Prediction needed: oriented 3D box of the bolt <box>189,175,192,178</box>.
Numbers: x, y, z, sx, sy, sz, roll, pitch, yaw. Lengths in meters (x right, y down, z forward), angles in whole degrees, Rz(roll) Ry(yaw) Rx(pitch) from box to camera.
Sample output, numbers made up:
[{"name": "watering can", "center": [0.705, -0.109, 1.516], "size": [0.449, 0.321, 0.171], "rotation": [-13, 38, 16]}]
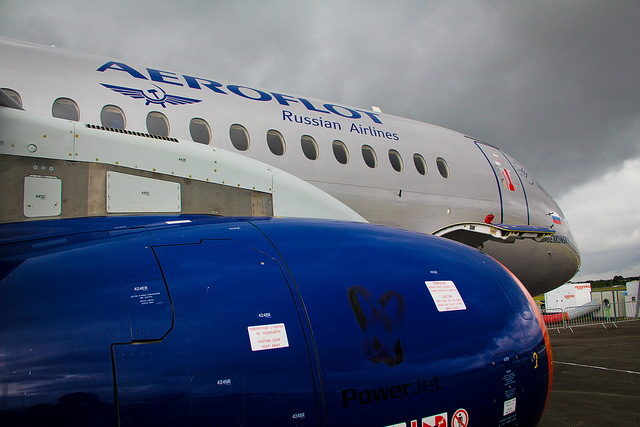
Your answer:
[{"name": "bolt", "center": [-1.418, -0.406, 5.082], "size": [0.006, 0.027, 0.028], "rotation": [-2, 8, 34]}]

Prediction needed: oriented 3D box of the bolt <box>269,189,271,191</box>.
[{"name": "bolt", "center": [-0.592, -0.282, 5.503], "size": [0.020, 0.019, 0.011], "rotation": [0, 6, 8]}]

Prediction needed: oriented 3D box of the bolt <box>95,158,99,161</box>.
[{"name": "bolt", "center": [-2.234, -0.542, 4.659], "size": [0.025, 0.026, 0.013], "rotation": [-49, 16, -4]}]

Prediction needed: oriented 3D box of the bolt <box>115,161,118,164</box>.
[{"name": "bolt", "center": [-2.068, -0.517, 4.735], "size": [0.025, 0.025, 0.025], "rotation": [3, 5, -20]}]

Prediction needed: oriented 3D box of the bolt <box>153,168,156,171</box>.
[{"name": "bolt", "center": [-1.745, -0.462, 4.895], "size": [0.026, 0.025, 0.026], "rotation": [-3, 0, 8]}]

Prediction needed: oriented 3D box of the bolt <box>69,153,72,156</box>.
[{"name": "bolt", "center": [-2.450, -0.579, 4.562], "size": [0.027, 0.027, 0.006], "rotation": [-15, 8, -25]}]

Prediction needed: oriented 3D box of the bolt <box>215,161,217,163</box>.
[{"name": "bolt", "center": [-1.184, -0.585, 5.269], "size": [0.024, 0.027, 0.024], "rotation": [1, 0, 5]}]

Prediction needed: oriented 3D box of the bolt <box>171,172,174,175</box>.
[{"name": "bolt", "center": [-1.579, -0.432, 4.988], "size": [0.018, 0.034, 0.019], "rotation": [-9, -15, 38]}]

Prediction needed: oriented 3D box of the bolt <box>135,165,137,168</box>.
[{"name": "bolt", "center": [-1.905, -0.487, 4.817], "size": [0.015, 0.015, 0.015], "rotation": [19, 17, 16]}]

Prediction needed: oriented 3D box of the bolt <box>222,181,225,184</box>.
[{"name": "bolt", "center": [-1.097, -0.353, 5.269], "size": [0.018, 0.018, 0.004], "rotation": [-10, 15, 10]}]

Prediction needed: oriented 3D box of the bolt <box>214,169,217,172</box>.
[{"name": "bolt", "center": [-1.180, -0.484, 5.249], "size": [0.026, 0.017, 0.025], "rotation": [6, 4, -12]}]

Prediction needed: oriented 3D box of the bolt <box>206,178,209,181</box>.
[{"name": "bolt", "center": [-1.253, -0.382, 5.193], "size": [0.019, 0.019, 0.014], "rotation": [-4, 16, 0]}]
